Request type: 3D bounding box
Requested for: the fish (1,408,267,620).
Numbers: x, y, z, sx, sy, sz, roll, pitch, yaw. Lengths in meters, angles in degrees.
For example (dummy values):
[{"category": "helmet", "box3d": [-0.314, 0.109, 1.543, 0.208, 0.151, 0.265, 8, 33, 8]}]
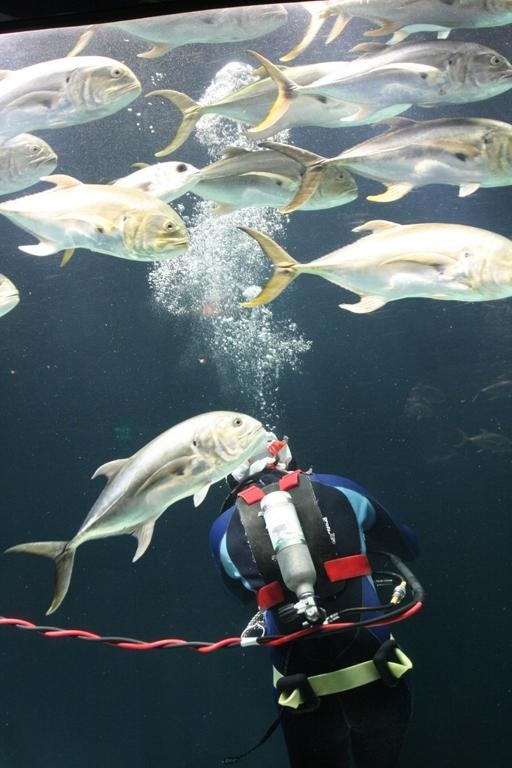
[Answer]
[{"category": "fish", "box3d": [-0.695, 0.813, 4.256, 1.879, 0.409, 0.677, -25, 67, 1]}]
